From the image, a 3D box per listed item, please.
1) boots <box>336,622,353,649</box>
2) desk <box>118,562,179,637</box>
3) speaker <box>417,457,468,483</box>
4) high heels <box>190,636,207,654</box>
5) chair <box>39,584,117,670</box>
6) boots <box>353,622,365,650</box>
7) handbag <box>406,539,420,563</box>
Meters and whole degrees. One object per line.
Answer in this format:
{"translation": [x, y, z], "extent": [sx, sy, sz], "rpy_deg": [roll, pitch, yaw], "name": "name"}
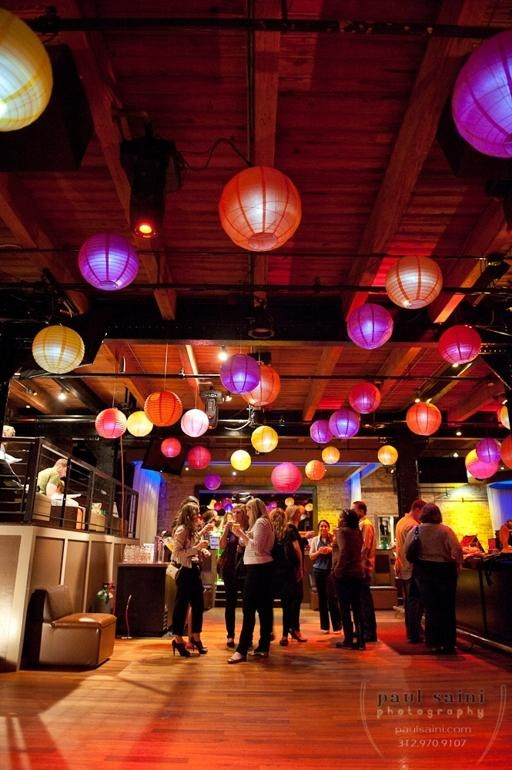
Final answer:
{"translation": [0.875, 2.535, 5.289], "extent": [0.183, 0.218, 0.136], "rpy_deg": [-7, -20, 21], "name": "boots"}
{"translation": [-1.438, 2.789, 6.967], "extent": [0.598, 0.776, 0.879], "rpy_deg": [-2, -15, -7], "name": "desk"}
{"translation": [4.735, 2.160, 13.313], "extent": [1.373, 0.689, 0.856], "rpy_deg": [-3, -10, 3], "name": "speaker"}
{"translation": [-0.554, 2.609, 5.248], "extent": [0.103, 0.165, 0.330], "rpy_deg": [3, -21, 23], "name": "high heels"}
{"translation": [-1.544, 2.163, 4.886], "extent": [0.645, 0.718, 0.770], "rpy_deg": [-1, -23, -4], "name": "chair"}
{"translation": [1.034, 2.549, 5.327], "extent": [0.111, 0.222, 0.261], "rpy_deg": [-4, -19, 11], "name": "boots"}
{"translation": [1.487, 1.565, 4.948], "extent": [0.155, 0.203, 0.195], "rpy_deg": [0, -8, 15], "name": "handbag"}
